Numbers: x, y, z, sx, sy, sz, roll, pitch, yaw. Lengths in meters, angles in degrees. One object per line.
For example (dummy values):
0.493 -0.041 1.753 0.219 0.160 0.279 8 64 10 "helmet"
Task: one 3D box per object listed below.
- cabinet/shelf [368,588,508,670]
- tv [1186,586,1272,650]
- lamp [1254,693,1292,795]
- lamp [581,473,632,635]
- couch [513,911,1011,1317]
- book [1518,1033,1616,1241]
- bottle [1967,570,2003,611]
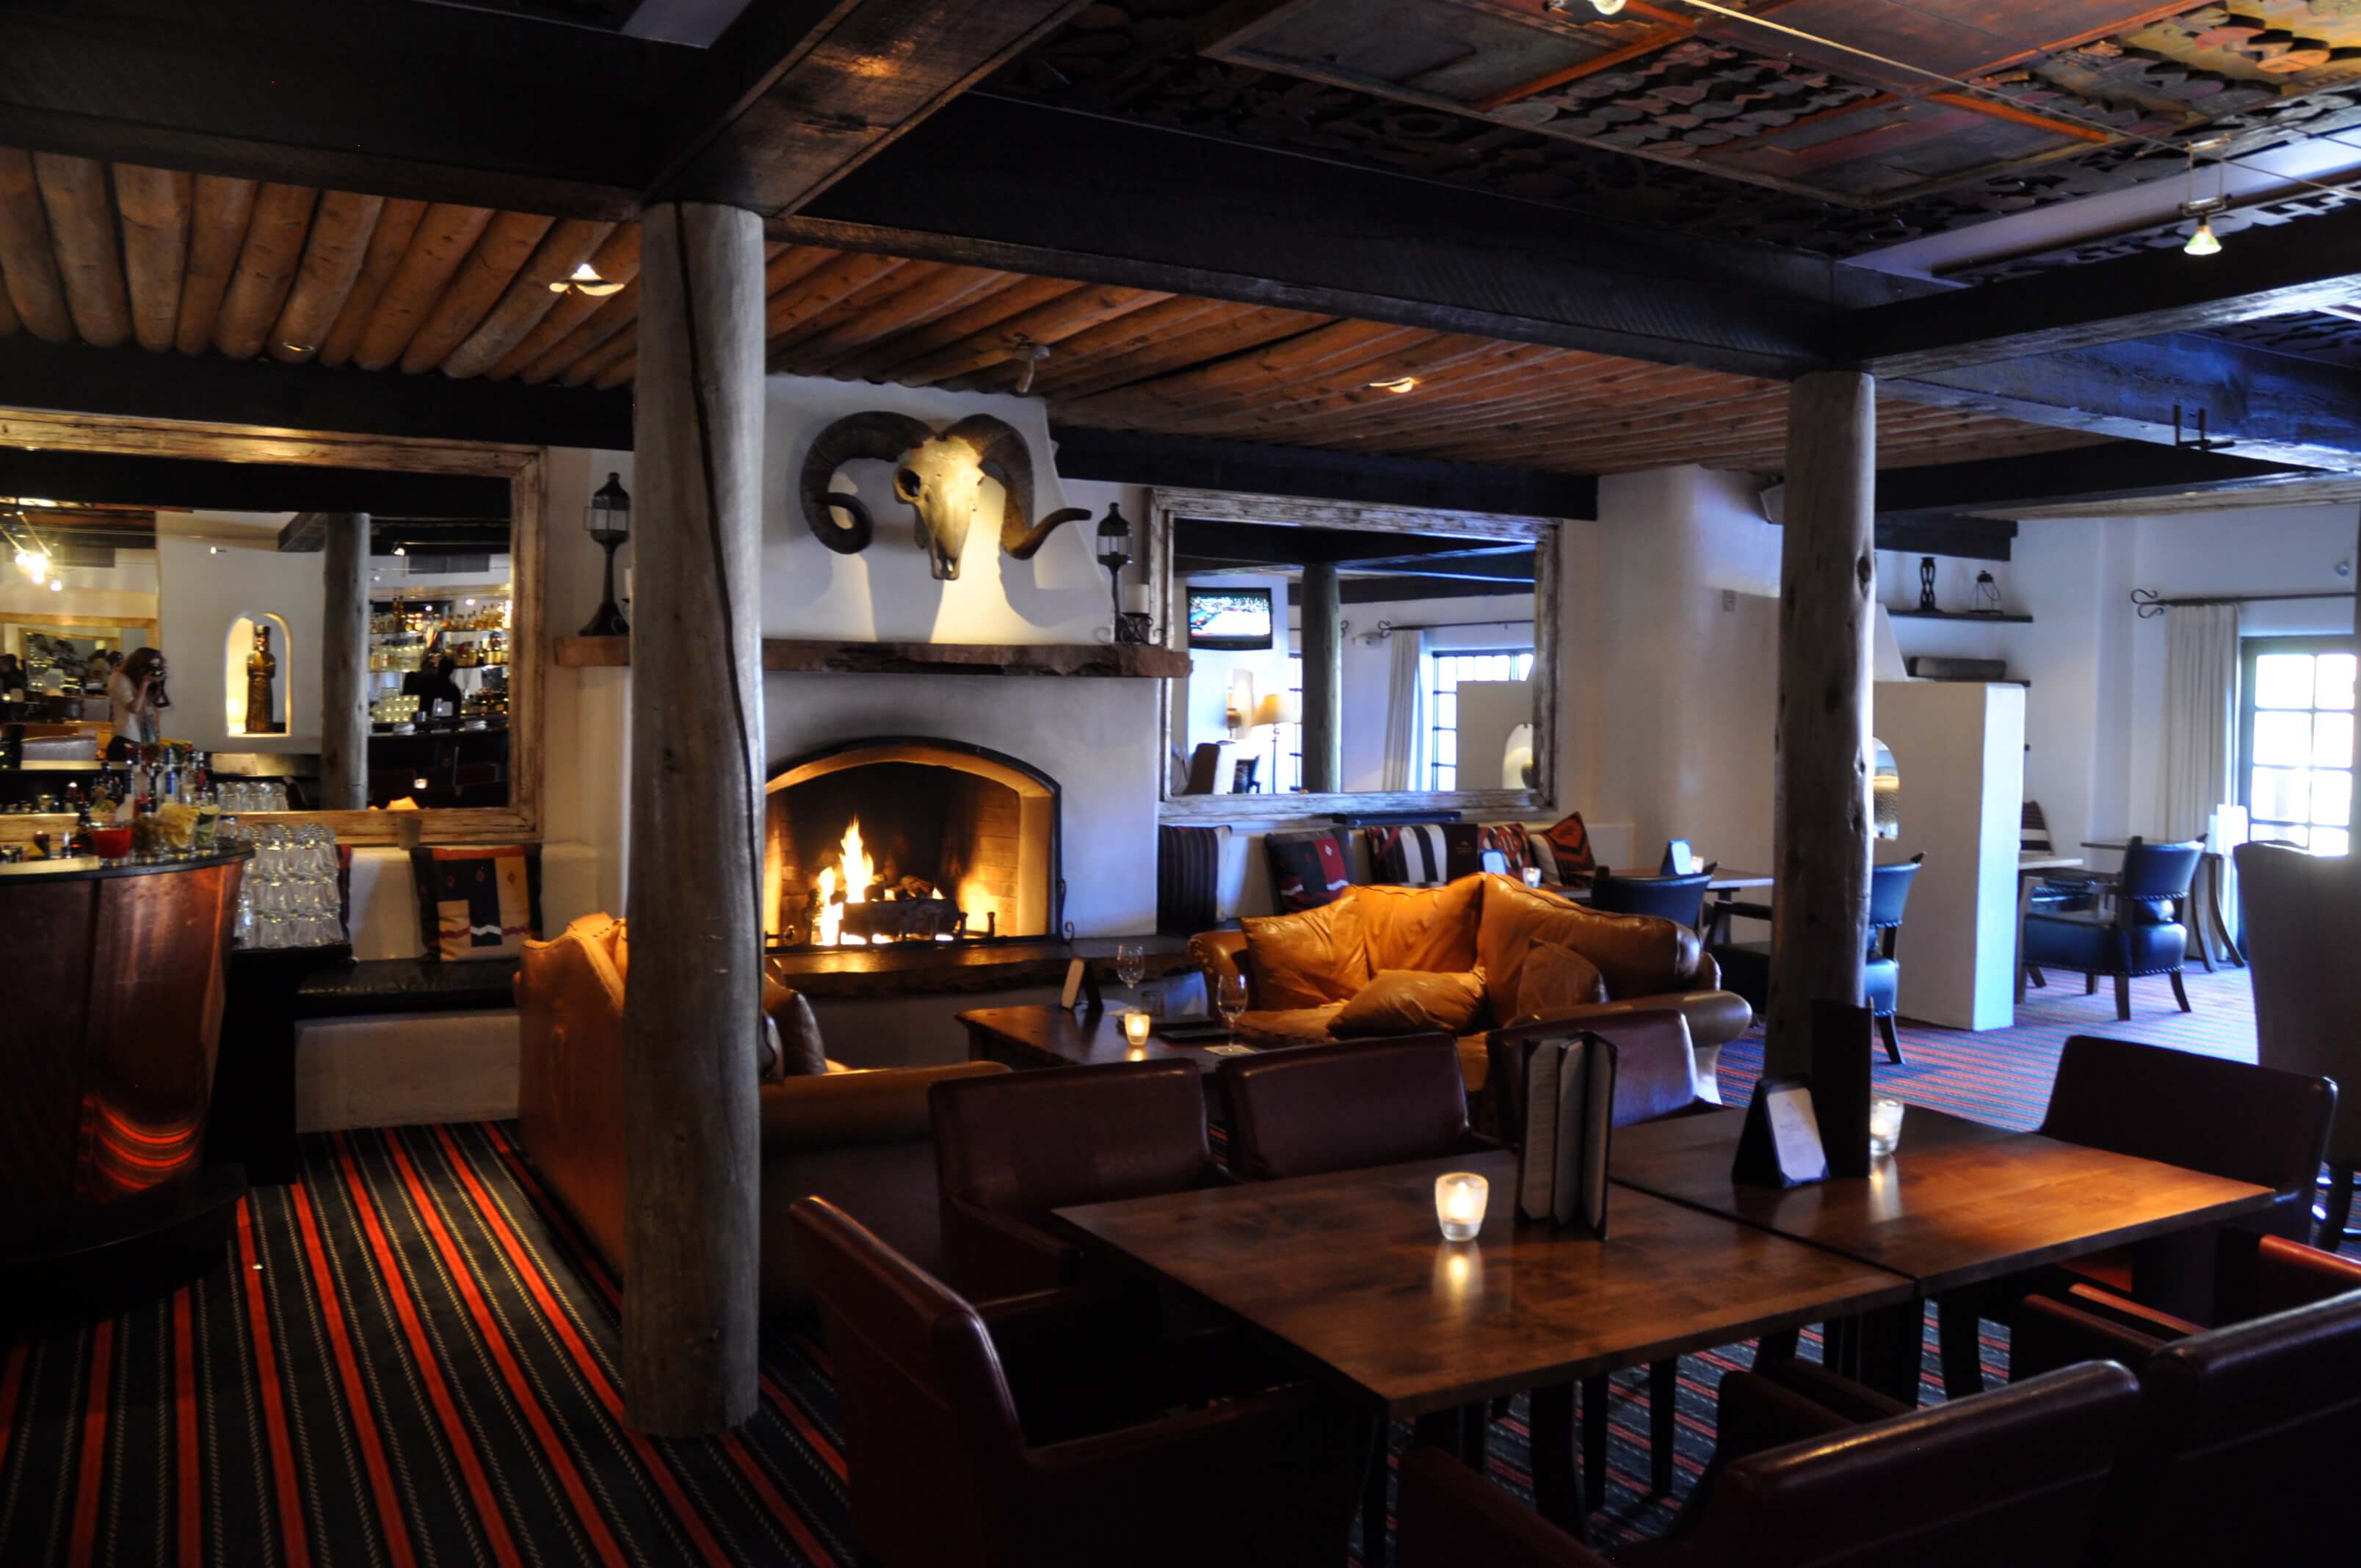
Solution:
-3.859 -0.813 8.536 1.029 0.422 0.189 7 12 36 "cabinet/shelf"
0.383 -1.496 14.831 1.044 0.531 0.706 2 -1 -10 "tv"
1.012 -0.465 17.737 0.407 1.091 0.837 1 10 3 "lamp"
-2.788 -1.120 7.998 0.233 0.776 0.673 -4 10 -20 "lamp"
-1.721 1.115 6.220 1.180 1.214 2.341 6 2 -39 "couch"
0.946 0.837 4.026 0.300 0.419 0.250 -2 -5 36 "book"
6.253 -1.500 12.838 0.199 0.331 0.090 1 -5 -2 "bottle"
